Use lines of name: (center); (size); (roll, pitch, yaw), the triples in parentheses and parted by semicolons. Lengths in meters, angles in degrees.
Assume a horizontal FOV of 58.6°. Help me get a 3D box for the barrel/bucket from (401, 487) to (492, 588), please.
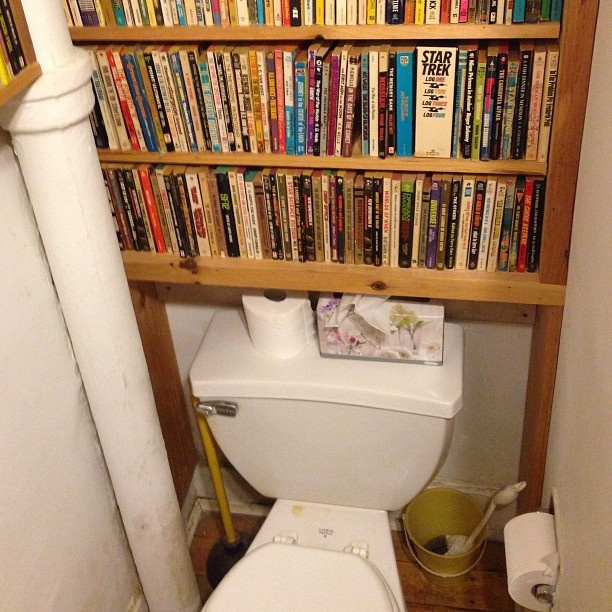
barrel/bucket: (0.382, 0.658, 1.613); (0.272, 0.206, 0.273); (-5, 42, 4)

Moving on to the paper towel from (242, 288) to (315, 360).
paper towel: (-0.061, 0.039, 1.214); (0.158, 0.144, 0.147); (-4, 47, -1)
